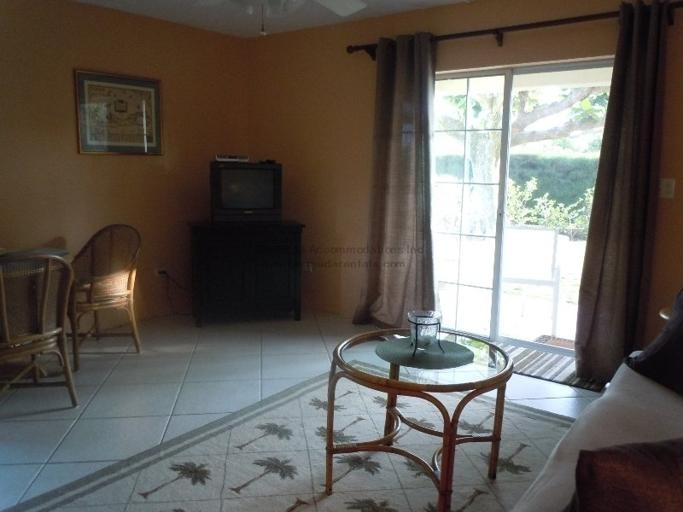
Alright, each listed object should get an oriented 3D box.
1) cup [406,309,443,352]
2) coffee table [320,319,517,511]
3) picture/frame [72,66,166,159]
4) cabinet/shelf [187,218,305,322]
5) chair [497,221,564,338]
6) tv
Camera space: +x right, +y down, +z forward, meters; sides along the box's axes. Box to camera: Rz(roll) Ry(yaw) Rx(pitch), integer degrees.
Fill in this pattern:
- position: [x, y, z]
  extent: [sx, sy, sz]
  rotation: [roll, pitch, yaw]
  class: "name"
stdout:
- position: [0.450, 0.399, 2.919]
  extent: [0.192, 0.219, 0.191]
  rotation: [-2, 10, 0]
  class: "cup"
- position: [0.469, 0.940, 2.900]
  extent: [0.907, 0.719, 0.921]
  rotation: [11, 12, 43]
  class: "coffee table"
- position: [-1.974, -1.263, 4.644]
  extent: [0.836, 0.799, 0.056]
  rotation: [-7, 12, -41]
  class: "picture/frame"
- position: [-0.894, 0.129, 4.975]
  extent: [0.928, 0.886, 0.397]
  rotation: [-1, 5, -13]
  class: "cabinet/shelf"
- position: [1.808, 0.220, 5.061]
  extent: [0.525, 0.986, 0.552]
  rotation: [5, 11, 22]
  class: "chair"
- position: [-0.907, -0.603, 5.061]
  extent: [0.656, 0.577, 0.353]
  rotation: [-1, 15, -14]
  class: "tv"
